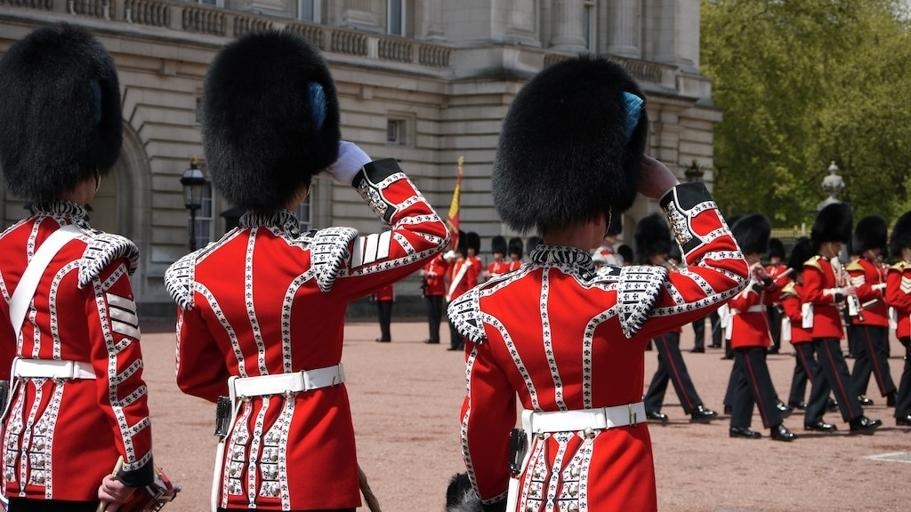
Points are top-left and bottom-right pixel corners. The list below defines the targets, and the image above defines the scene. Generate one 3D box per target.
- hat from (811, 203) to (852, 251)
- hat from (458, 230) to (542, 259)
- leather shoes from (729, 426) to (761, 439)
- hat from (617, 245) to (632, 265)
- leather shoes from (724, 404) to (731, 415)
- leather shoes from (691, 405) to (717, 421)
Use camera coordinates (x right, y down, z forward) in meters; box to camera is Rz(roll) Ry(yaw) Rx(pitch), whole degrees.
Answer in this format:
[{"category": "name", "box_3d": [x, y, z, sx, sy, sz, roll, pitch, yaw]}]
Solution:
[{"category": "hat", "box_3d": [5.207, -0.466, 23.060, 0.757, 0.545, 0.253, -6, -3, 20]}, {"category": "hat", "box_3d": [0.757, -0.248, 29.934, 1.340, 0.266, 1.215, 1, -4, -4]}, {"category": "leather shoes", "box_3d": [3.803, 2.320, 22.007, 0.499, 0.162, 0.147, 1, -1, 4]}, {"category": "hat", "box_3d": [2.884, -0.056, 28.250, 0.304, 0.319, 0.367, -7, -10, 4]}, {"category": "leather shoes", "box_3d": [3.781, 2.129, 23.149, 0.144, 0.114, 0.126, -1, -3, 13]}, {"category": "leather shoes", "box_3d": [3.462, 2.144, 22.886, 0.411, 0.146, 0.168, -9, 1, 20]}]
